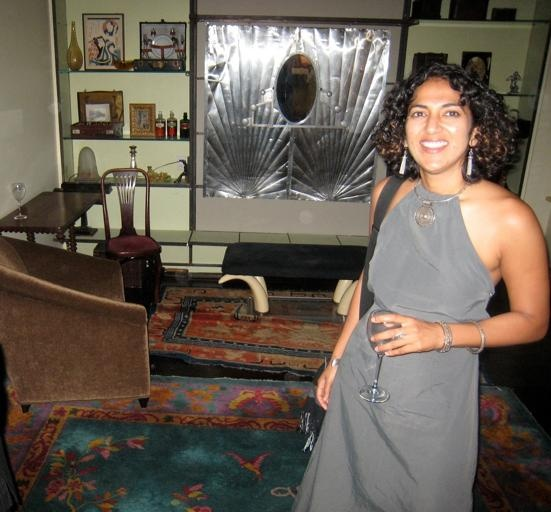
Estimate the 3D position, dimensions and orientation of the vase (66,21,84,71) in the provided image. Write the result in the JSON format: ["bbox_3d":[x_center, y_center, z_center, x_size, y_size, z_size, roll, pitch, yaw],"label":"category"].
[{"bbox_3d":[-1.922,-1.990,4.207,0.130,0.438,0.149,-8,20,-22],"label":"vase"}]

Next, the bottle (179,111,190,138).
[{"bbox_3d":[-0.898,-1.275,4.373,0.094,0.254,0.166,-4,18,-11],"label":"bottle"}]

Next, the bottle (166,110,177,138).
[{"bbox_3d":[-1.028,-1.289,4.392,0.101,0.268,0.247,-4,18,-13],"label":"bottle"}]

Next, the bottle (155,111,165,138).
[{"bbox_3d":[-1.135,-1.281,4.376,0.110,0.262,0.228,-4,18,-12],"label":"bottle"}]

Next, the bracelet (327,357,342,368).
[{"bbox_3d":[0.173,0.311,1.294,0.028,0.023,0.021,10,-8,-24],"label":"bracelet"}]

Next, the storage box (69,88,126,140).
[{"bbox_3d":[-1.733,-1.389,4.337,0.562,0.483,0.273,0,14,-4],"label":"storage box"}]
